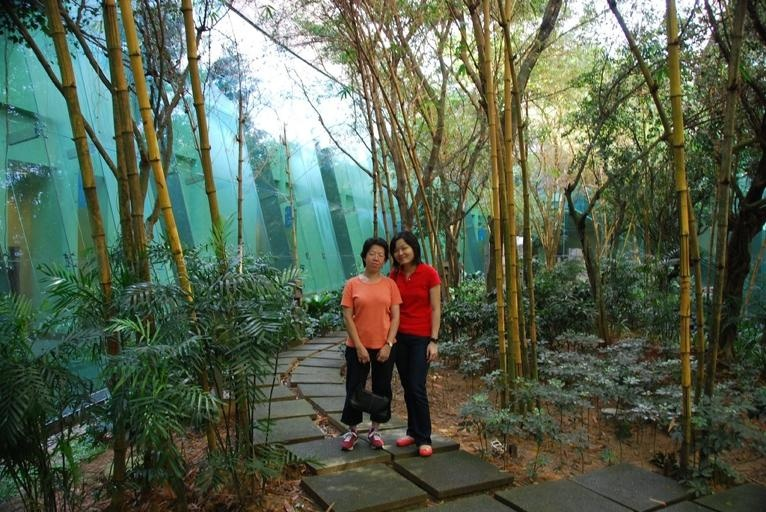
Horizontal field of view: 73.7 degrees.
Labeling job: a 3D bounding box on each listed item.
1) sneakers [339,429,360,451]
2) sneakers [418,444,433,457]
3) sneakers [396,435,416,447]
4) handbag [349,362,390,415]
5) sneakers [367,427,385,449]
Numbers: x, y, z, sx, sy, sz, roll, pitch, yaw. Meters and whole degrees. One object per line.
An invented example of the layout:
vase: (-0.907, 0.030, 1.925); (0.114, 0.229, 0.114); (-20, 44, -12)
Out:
sneakers: (-0.261, 1.375, 3.876); (0.132, 0.142, 0.161); (-2, -1, -6)
sneakers: (0.309, 1.428, 3.772); (0.066, 0.061, 0.135); (1, -5, 5)
sneakers: (0.167, 1.415, 3.917); (0.155, 0.071, 0.059); (9, -8, -27)
handbag: (-0.107, 0.980, 3.816); (0.282, 0.298, 0.127); (27, -6, -13)
sneakers: (-0.046, 1.371, 3.838); (0.071, 0.086, 0.172); (1, -10, -12)
